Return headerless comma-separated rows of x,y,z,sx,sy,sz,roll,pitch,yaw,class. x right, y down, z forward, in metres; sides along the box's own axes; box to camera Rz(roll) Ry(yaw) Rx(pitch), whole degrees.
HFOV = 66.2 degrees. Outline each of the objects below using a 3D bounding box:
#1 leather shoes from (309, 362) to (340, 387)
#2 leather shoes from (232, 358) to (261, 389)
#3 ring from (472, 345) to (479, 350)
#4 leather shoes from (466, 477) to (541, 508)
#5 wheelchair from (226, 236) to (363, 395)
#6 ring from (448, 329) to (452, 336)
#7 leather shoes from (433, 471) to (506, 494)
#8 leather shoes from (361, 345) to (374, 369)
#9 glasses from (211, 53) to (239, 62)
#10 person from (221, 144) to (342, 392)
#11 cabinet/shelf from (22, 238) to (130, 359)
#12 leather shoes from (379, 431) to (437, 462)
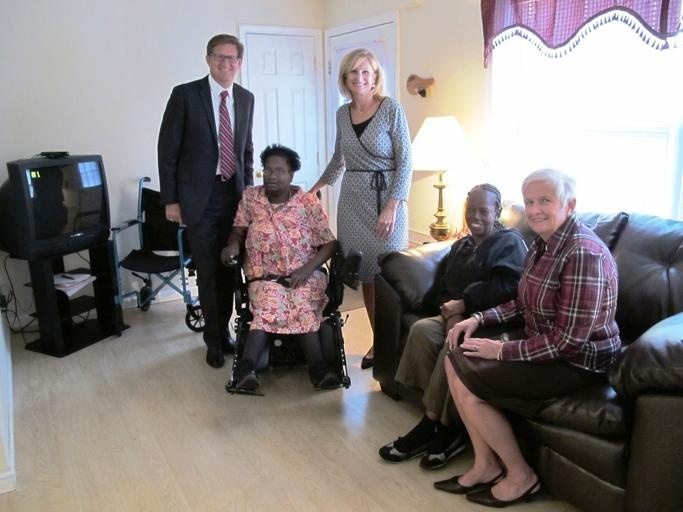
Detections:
-0.101,0.673,2.973,0.094,0.073,0.183,-3,-3,-22,leather shoes
-0.521,0.658,2.928,0.081,0.165,0.217,0,4,-30,leather shoes
0.593,0.406,2.315,0.028,0.020,0.016,2,4,24,ring
0.726,1.063,2.303,0.355,0.085,0.124,-8,9,-4,leather shoes
-0.206,0.416,3.478,0.685,1.101,0.953,0,1,-1,wheelchair
0.523,0.368,2.518,0.025,0.033,0.012,-18,-43,34,ring
0.587,1.045,2.376,0.338,0.061,0.111,-13,5,6,leather shoes
0.189,0.677,3.474,0.061,0.073,0.181,-8,8,26,leather shoes
-0.714,-1.212,3.208,0.148,0.049,0.037,-3,13,-11,glasses
-0.370,0.037,3.078,0.710,1.334,0.602,0,13,1,person
-1.986,0.287,3.897,0.489,0.729,0.599,6,14,27,cabinet/shelf
0.307,0.942,2.601,0.303,0.121,0.109,-12,45,-5,leather shoes
